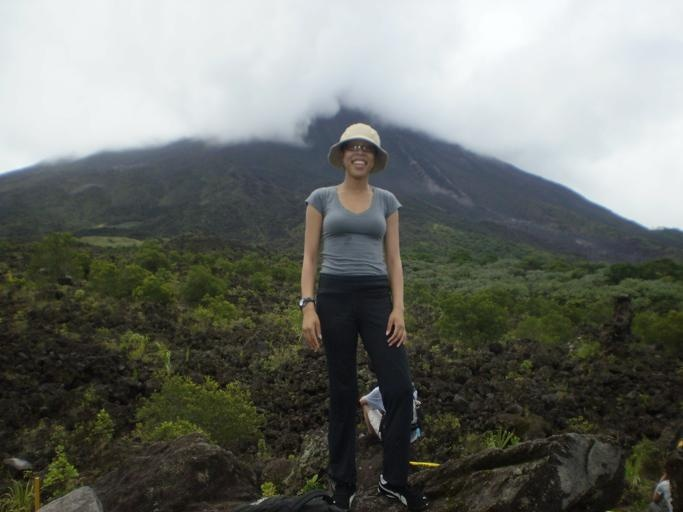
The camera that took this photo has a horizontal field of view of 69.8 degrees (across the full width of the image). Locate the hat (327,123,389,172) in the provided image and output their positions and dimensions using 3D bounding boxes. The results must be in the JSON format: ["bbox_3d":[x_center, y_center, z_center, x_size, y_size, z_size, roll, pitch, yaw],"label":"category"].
[{"bbox_3d":[0.265,-1.570,6.748,0.608,0.384,0.698,7,-22,8],"label":"hat"}]
